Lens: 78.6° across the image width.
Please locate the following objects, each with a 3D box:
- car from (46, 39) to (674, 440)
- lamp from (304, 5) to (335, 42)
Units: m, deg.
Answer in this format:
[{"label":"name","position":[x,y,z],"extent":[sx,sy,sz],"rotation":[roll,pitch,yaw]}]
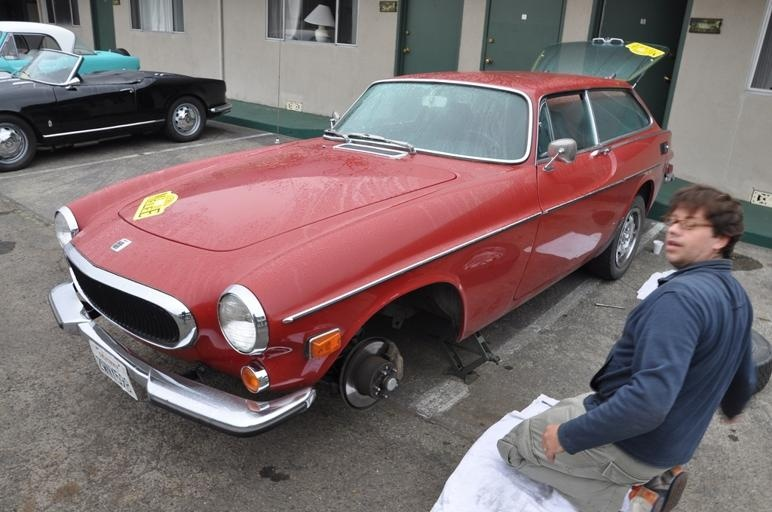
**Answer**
[{"label":"car","position":[0.517,-0.487,4.098],"extent":[5.176,1.746,2.437],"rotation":[-22,35,-33]},{"label":"lamp","position":[-1.471,-5.344,10.773],"extent":[0.758,0.758,0.204],"rotation":[21,33,32]}]
